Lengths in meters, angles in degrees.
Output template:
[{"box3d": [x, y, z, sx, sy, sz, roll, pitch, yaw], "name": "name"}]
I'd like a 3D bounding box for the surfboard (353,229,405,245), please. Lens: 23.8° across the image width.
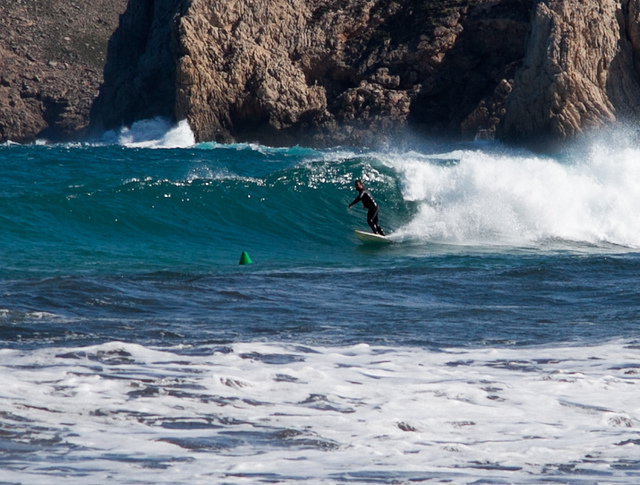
[{"box3d": [3.201, -0.260, 70.301, 3.733, 0.668, 0.483, 1, 18, 9], "name": "surfboard"}]
